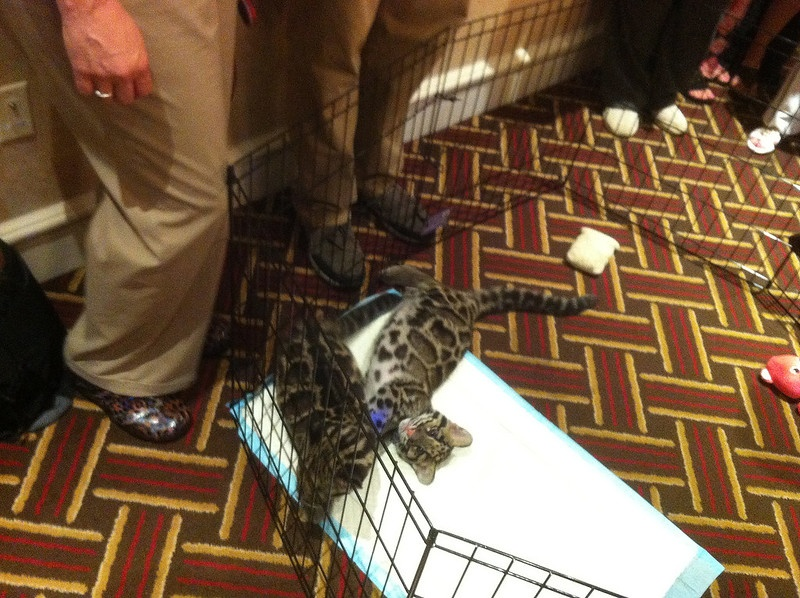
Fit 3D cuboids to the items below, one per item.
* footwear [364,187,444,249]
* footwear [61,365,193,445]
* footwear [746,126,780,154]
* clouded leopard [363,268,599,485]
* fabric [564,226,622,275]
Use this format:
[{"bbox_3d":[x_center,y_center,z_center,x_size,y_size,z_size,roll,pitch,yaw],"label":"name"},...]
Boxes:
[{"bbox_3d":[-0.014,-0.462,3.528,0.547,0.209,0.174,30,57,33],"label":"footwear"},{"bbox_3d":[-1.039,0.450,2.893,0.549,0.226,0.223,27,84,0],"label":"footwear"},{"bbox_3d":[2.183,-0.943,4.254,0.166,0.055,0.238,10,68,9],"label":"footwear"},{"bbox_3d":[0.102,0.244,2.876,0.677,0.242,0.831,8,50,-9],"label":"clouded leopard"},{"bbox_3d":[0.964,-0.241,3.558,0.227,0.070,0.241,25,78,7],"label":"fabric"}]
